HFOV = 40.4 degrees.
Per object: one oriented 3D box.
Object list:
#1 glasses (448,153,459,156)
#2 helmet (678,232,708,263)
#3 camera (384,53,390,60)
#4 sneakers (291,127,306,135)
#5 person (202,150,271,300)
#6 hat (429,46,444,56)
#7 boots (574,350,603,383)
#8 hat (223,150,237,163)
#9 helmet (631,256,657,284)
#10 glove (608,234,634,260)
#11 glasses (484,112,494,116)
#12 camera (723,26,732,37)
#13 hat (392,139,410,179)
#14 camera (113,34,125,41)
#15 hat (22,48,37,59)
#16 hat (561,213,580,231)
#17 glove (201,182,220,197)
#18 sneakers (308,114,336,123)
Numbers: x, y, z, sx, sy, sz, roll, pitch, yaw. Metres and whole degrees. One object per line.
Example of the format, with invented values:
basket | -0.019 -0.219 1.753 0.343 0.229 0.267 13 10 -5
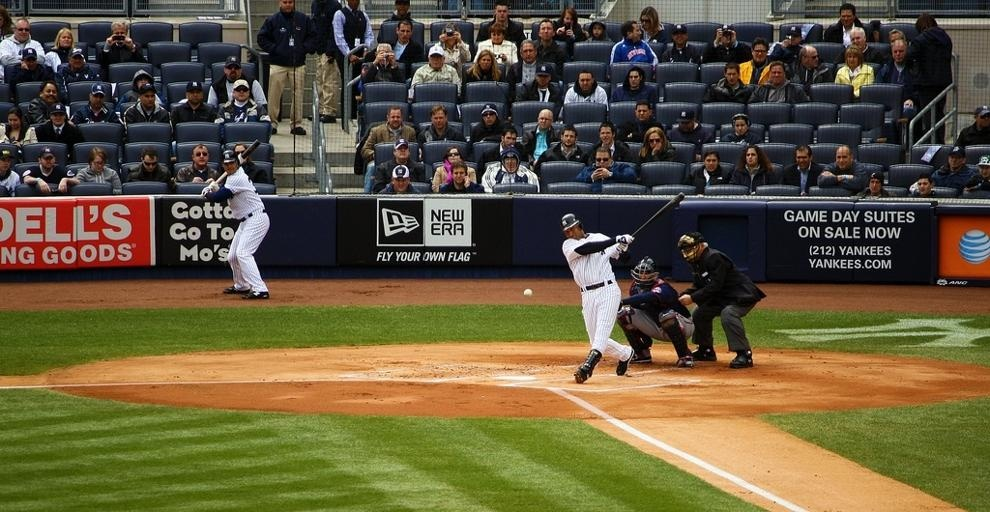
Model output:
glasses | -1.116 -2.674 35.635 0.231 0.104 0.084 -1 7 5
helmet | 4.300 -0.191 29.180 0.541 0.608 0.312 -5 8 -26
camera | -3.002 -5.516 37.307 0.197 0.082 0.249 0 -2 -1
sneakers | -5.517 -3.513 37.907 0.424 0.225 0.240 -3 8 -29
person | -6.373 -0.781 33.468 1.341 3.637 0.940 -1 7 1
hat | -1.633 -5.691 37.481 0.406 0.259 0.536 -1 6 -2
boots | 1.811 2.388 28.181 0.503 0.323 0.979 -26 -24 -33
hat | -6.579 -2.458 33.358 0.358 0.212 0.452 -3 7 -3
helmet | 3.302 0.319 29.326 0.544 0.486 0.592 4 8 12
glove | 2.689 -0.204 28.423 0.462 0.182 0.559 -10 -12 -11
glasses | -0.151 -3.803 36.083 0.261 0.077 0.063 -1 7 0
camera | 6.616 -6.349 38.040 0.323 0.277 0.531 0 6 13
hat | -2.446 -2.557 35.414 0.392 0.958 0.615 -2 7 -5
camera | -10.587 -6.089 37.733 0.218 0.116 0.218 5 8 28
hat | -12.897 -5.565 37.085 0.500 0.278 0.341 0 6 8
hat | 1.631 -0.742 28.598 0.331 0.209 0.437 -24 2 32
glove | -7.083 -1.646 33.499 0.487 0.144 0.339 -21 22 -3
sneakers | -4.880 -3.887 38.447 0.724 0.238 0.247 7 3 -19
